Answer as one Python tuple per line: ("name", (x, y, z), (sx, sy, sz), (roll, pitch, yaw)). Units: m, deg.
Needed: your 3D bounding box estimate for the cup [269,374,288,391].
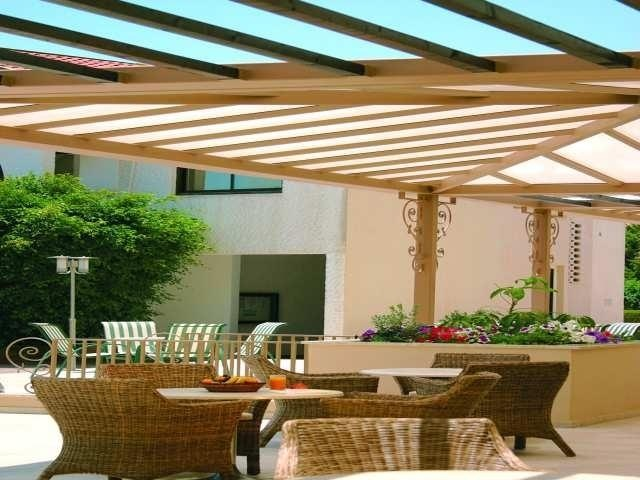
("cup", (-0.315, 1.081, 5.590), (0.191, 0.075, 0.138), (1, 0, -1))
